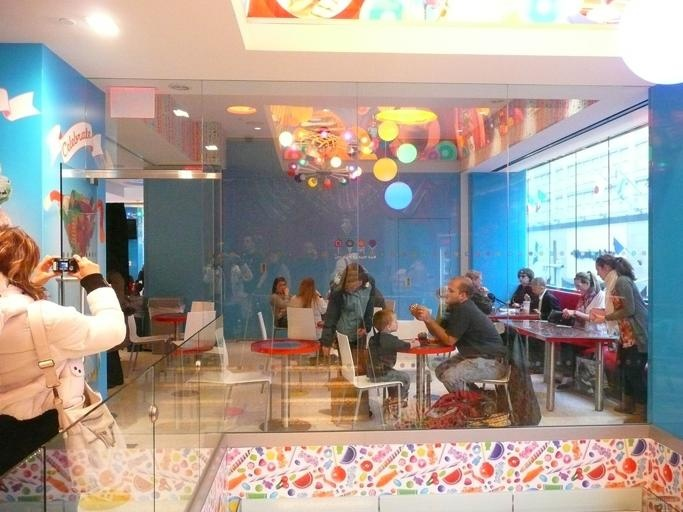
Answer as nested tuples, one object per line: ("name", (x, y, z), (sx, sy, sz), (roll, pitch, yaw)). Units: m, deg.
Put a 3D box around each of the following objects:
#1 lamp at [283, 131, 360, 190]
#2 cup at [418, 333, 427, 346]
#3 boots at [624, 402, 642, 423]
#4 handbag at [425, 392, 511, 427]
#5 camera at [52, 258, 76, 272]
("lamp", (-0.214, -0.851, 4.958), (0.533, 0.545, 0.261), (-2, 10, 1))
("cup", (0.718, 0.728, 4.945), (0.093, 0.098, 0.089), (1, 1, 0))
("boots", (2.616, 1.393, 5.069), (0.152, 0.275, 0.148), (-2, -5, 24))
("handbag", (1.084, 1.347, 4.901), (0.497, 0.185, 0.370), (-3, -5, -10))
("camera", (-1.604, 0.051, 3.289), (0.152, 0.087, 0.037), (-10, -23, 9))
